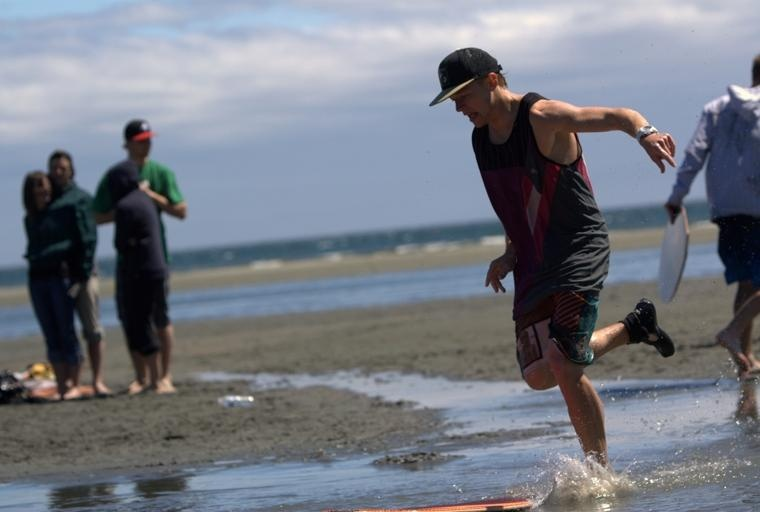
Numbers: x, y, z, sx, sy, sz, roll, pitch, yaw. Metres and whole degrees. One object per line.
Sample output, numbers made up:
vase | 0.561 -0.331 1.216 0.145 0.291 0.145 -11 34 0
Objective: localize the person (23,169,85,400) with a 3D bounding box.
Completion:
person | -2.925 0.271 14.777 0.433 1.983 0.480 -6 14 -12

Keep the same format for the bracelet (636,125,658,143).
bracelet | 1.994 -0.896 12.231 0.128 0.128 0.182 -8 14 -22

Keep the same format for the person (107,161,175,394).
person | -2.138 0.202 14.786 0.437 2.036 0.500 -5 14 -9

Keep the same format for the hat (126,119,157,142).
hat | -2.154 -1.088 14.668 0.218 0.200 0.194 -4 13 -6
